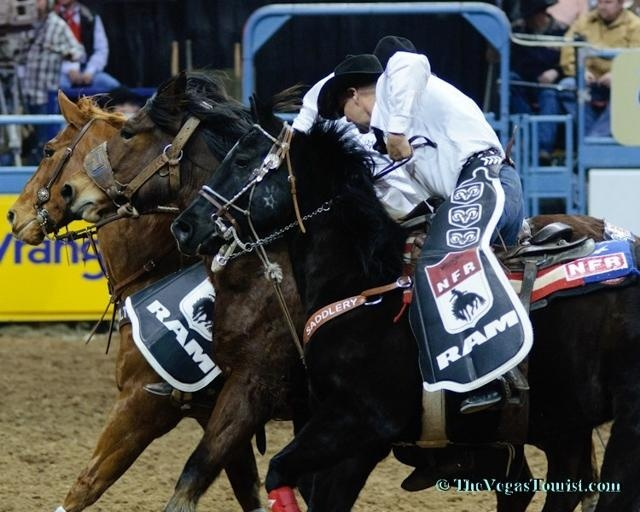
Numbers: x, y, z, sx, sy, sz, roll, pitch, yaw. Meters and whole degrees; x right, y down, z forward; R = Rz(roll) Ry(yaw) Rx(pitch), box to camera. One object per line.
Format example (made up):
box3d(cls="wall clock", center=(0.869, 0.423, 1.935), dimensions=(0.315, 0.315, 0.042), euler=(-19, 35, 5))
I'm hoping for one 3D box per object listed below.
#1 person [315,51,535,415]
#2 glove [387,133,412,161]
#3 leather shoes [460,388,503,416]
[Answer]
box3d(cls="person", center=(0.485, -0.105, 7.334), dimensions=(0.969, 1.859, 1.133), euler=(5, -22, -29))
box3d(cls="glove", center=(0.373, -0.520, 6.961), dimensions=(0.124, 0.129, 0.063), euler=(0, 8, 1))
box3d(cls="leather shoes", center=(0.761, 0.694, 6.908), dimensions=(0.178, 0.066, 0.100), euler=(-12, -1, -19))
